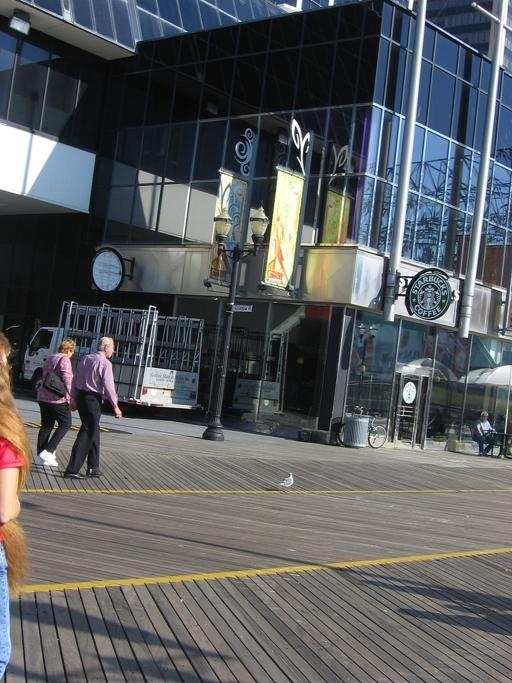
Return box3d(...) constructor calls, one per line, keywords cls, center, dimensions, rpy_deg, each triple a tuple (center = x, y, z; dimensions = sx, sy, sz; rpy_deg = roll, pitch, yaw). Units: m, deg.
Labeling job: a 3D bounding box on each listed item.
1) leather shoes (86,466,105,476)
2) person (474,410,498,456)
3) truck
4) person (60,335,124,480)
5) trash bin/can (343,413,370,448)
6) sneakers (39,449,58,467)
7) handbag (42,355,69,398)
box3d(cls="leather shoes", center=(-2.736, 2.223, 9.192), dimensions=(0.137, 0.107, 0.306), rpy_deg=(-15, -5, 15))
box3d(cls="person", center=(10.665, 4.315, 25.296), dimensions=(1.193, 1.641, 0.663), rpy_deg=(8, -2, -33))
box3d(cls="truck", center=(-5.527, 0.300, 21.473), dimensions=(6.760, 3.711, 4.371), rpy_deg=(6, -1, 26))
box3d(cls="person", center=(-2.790, 1.131, 9.299), dimensions=(0.755, 2.496, 0.918), rpy_deg=(8, -2, -19))
box3d(cls="trash bin/can", center=(3.672, 3.312, 19.924), dimensions=(1.110, 1.221, 1.104), rpy_deg=(1, -2, 8))
box3d(cls="sneakers", center=(-3.729, 2.045, 9.550), dimensions=(0.204, 0.241, 0.550), rpy_deg=(1, 0, -45))
box3d(cls="handbag", center=(-3.521, 0.641, 9.560), dimensions=(0.391, 0.788, 0.151), rpy_deg=(33, -46, -19))
